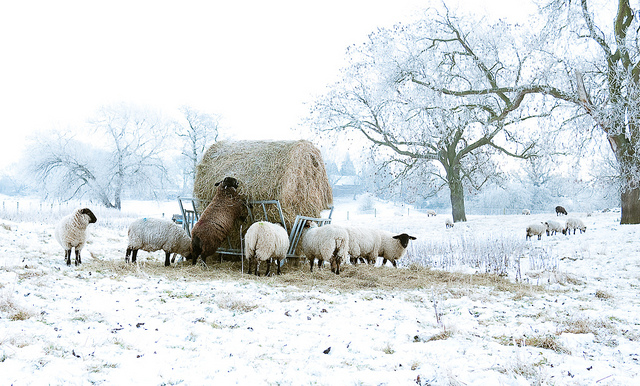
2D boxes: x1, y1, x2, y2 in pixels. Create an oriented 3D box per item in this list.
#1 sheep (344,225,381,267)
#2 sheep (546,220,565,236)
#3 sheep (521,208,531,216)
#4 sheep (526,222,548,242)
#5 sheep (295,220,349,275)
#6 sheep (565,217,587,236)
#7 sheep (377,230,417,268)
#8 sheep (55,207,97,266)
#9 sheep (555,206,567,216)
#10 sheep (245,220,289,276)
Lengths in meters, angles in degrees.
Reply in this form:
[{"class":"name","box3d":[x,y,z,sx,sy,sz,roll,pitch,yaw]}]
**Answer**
[{"class":"sheep","box3d":[1.553,2.269,27.168,2.282,1.585,1.047,10,-5,-33]},{"class":"sheep","box3d":[12.338,1.887,33.983,0.952,0.755,0.729,2,4,14]},{"class":"sheep","box3d":[16.085,1.544,50.732,0.381,0.675,1.197,6,-1,44]},{"class":"sheep","box3d":[11.019,2.016,33.058,0.888,0.758,1.847,3,4,23]},{"class":"sheep","box3d":[0.023,2.293,26.362,1.310,1.892,2.618,4,-6,-33]},{"class":"sheep","box3d":[13.380,1.780,33.888,1.014,0.784,1.772,3,4,21]},{"class":"sheep","box3d":[3.173,2.541,28.286,1.184,1.445,2.093,-2,0,-35]},{"class":"sheep","box3d":[-9.812,1.756,25.694,1.264,2.261,2.584,4,-5,-38]},{"class":"sheep","box3d":[17.581,1.334,46.982,0.414,0.692,1.331,6,-6,42]},{"class":"sheep","box3d":[-2.040,2.310,25.830,1.315,2.029,2.719,2,-5,28]}]
